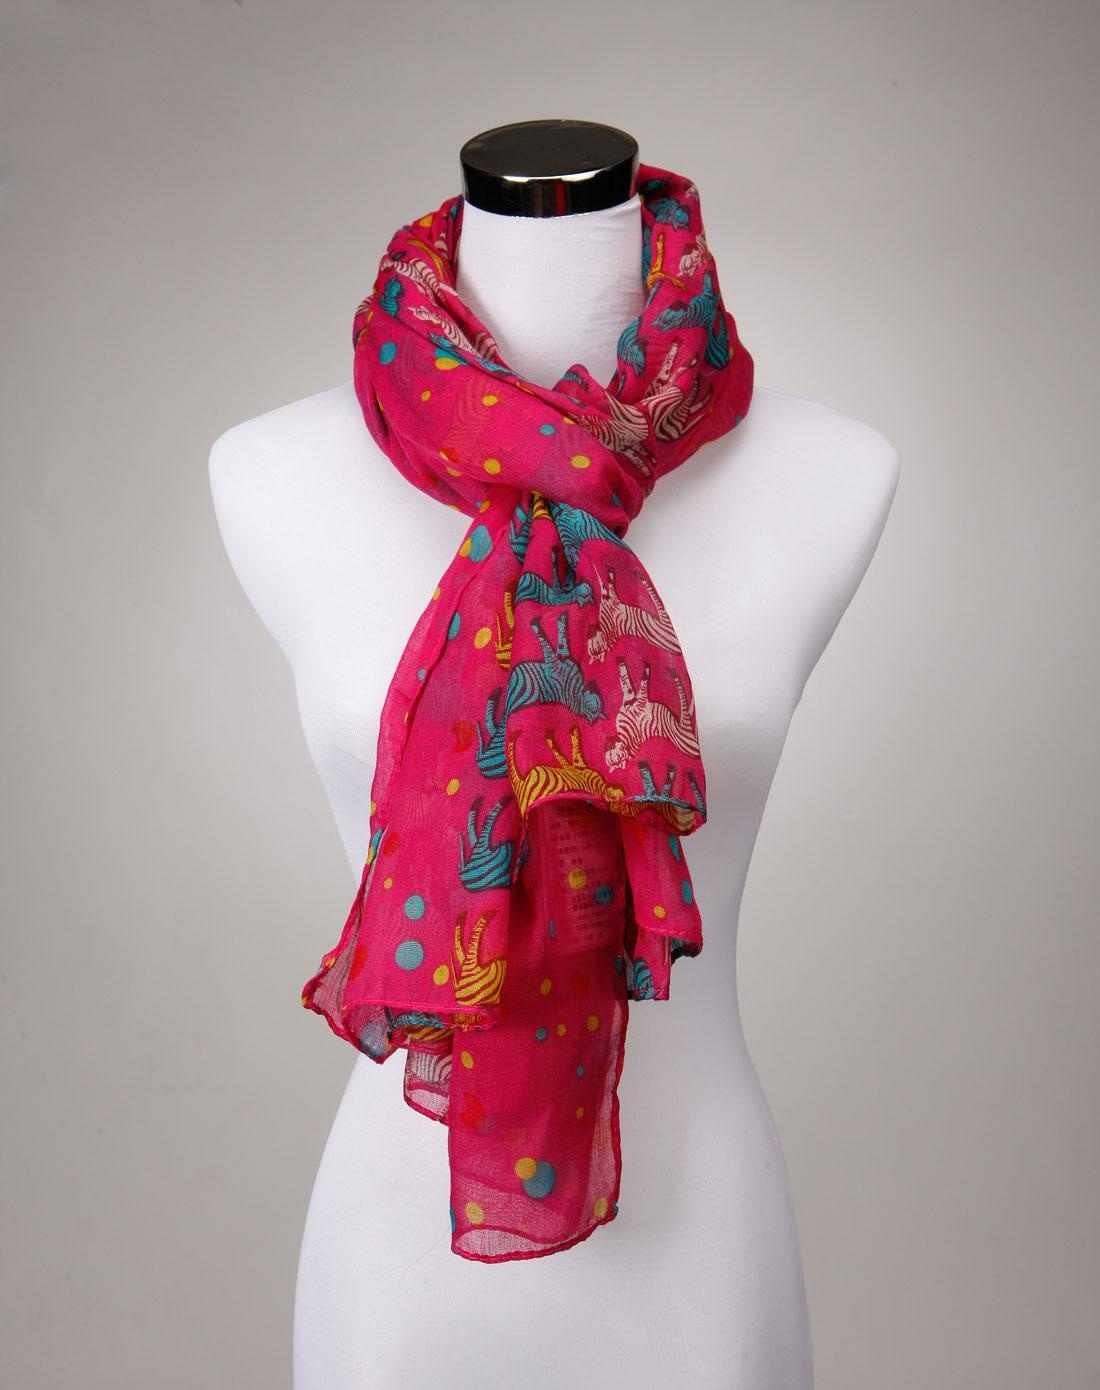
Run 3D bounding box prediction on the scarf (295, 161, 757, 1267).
[{"bbox_3d":[-0.016,0.004,1.607,0.399,0.984,0.435,1,11,5],"label":"scarf"}]
